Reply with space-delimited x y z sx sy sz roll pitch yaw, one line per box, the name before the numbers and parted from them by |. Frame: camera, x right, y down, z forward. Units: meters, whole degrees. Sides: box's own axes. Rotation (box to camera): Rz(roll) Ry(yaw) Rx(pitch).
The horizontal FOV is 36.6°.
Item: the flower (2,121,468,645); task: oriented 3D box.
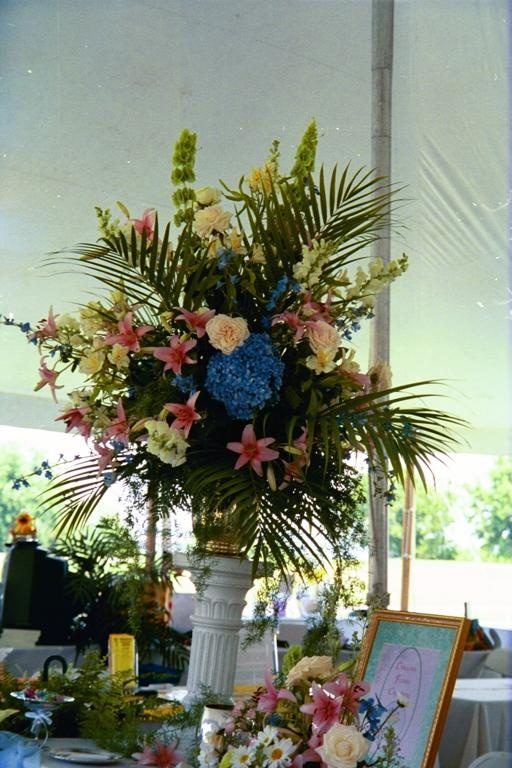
flower | -0.060 -0.044 1.724 0.996 0.861 0.903 1 -12 13
